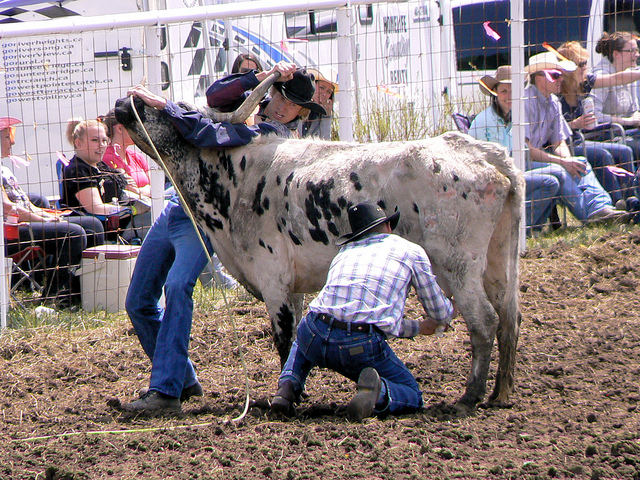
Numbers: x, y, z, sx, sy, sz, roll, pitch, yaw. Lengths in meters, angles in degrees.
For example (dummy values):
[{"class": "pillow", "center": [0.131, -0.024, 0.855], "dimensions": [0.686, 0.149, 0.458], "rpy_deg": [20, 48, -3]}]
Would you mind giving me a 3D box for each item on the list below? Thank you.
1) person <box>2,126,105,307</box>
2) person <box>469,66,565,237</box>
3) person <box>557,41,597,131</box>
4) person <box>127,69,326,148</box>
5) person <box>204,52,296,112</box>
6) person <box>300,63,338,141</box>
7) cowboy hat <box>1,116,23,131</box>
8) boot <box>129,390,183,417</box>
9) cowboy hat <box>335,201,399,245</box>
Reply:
[{"class": "person", "center": [-3.077, -0.283, 12.568], "dimensions": [1.079, 2.084, 1.234], "rpy_deg": [-3, 5, -13]}, {"class": "person", "center": [2.249, -0.980, 12.242], "dimensions": [0.676, 1.980, 1.296], "rpy_deg": [-4, -7, -9]}, {"class": "person", "center": [3.359, -2.005, 14.211], "dimensions": [0.680, 1.064, 0.352], "rpy_deg": [-2, 6, -9]}, {"class": "person", "center": [-0.767, -1.173, 10.325], "dimensions": [1.149, 0.683, 1.020], "rpy_deg": [1, 29, 6]}, {"class": "person", "center": [-0.813, -1.455, 10.549], "dimensions": [0.809, 0.313, 0.671], "rpy_deg": [-17, 9, -8]}, {"class": "person", "center": [-0.082, -1.506, 12.620], "dimensions": [0.382, 0.873, 0.377], "rpy_deg": [-17, 28, -13]}, {"class": "cowboy hat", "center": [-3.501, -1.325, 12.346], "dimensions": [0.215, 0.163, 0.324], "rpy_deg": [-3, 6, -8]}, {"class": "boot", "center": [-1.480, 1.538, 10.053], "dimensions": [0.551, 0.264, 0.204], "rpy_deg": [13, -12, -6]}, {"class": "cowboy hat", "center": [0.415, -0.145, 9.640], "dimensions": [0.565, 0.379, 0.235], "rpy_deg": [-2, 5, 0]}]
